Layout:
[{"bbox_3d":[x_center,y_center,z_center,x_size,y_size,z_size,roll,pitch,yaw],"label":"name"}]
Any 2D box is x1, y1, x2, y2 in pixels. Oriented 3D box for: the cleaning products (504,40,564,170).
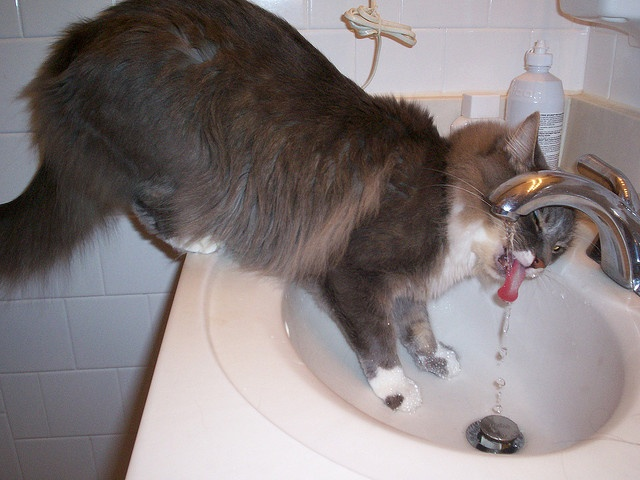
[{"bbox_3d":[0.505,-0.307,1.270,0.109,0.307,0.114,-15,34,-2],"label":"cleaning products"}]
